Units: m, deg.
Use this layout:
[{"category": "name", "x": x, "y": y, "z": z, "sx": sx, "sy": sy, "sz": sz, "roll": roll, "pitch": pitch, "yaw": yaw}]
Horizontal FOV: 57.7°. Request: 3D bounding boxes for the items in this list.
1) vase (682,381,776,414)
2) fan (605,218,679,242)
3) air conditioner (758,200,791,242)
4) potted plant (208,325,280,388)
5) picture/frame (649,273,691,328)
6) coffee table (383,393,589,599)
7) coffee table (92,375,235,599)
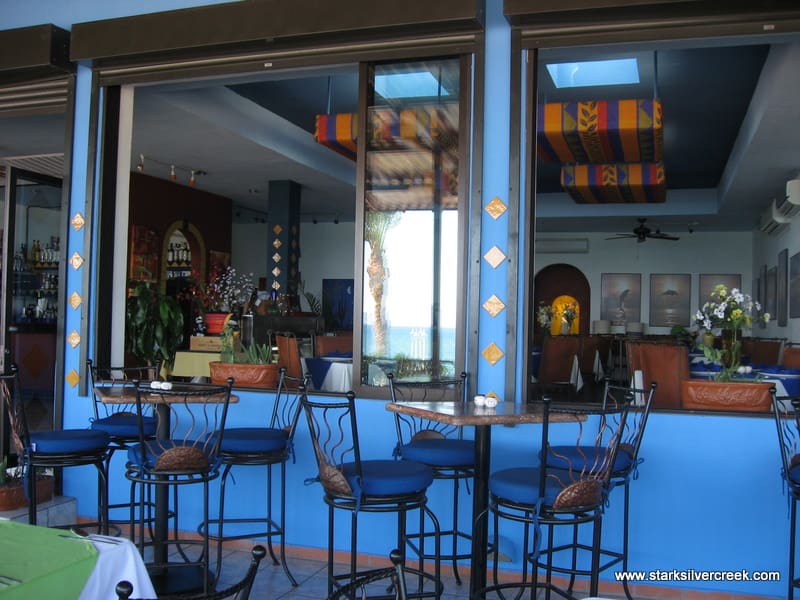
[{"category": "vase", "x": 2.173, "y": 0.643, "z": 4.779, "sx": 0.341, "sy": 0.168, "sz": 0.276, "roll": 1, "pitch": -6, "yaw": 17}, {"category": "fan", "x": 4.496, "y": -1.231, "z": 13.313, "sx": 0.806, "sy": 0.292, "sz": 0.874, "roll": -2, "pitch": -1, "yaw": 41}, {"category": "air conditioner", "x": 5.777, "y": -1.221, "z": 11.095, "sx": 0.179, "sy": 0.259, "sz": 0.662, "roll": 2, "pitch": -3, "yaw": 9}, {"category": "potted plant", "x": -1.252, "y": 0.530, "z": 5.750, "sx": 0.657, "sy": 0.653, "sz": 0.375, "roll": 0, "pitch": -7, "yaw": 4}, {"category": "picture/frame", "x": 5.737, "y": -0.013, "z": 15.220, "sx": 0.980, "sy": 1.485, "sz": 0.047, "roll": 2, "pitch": 4, "yaw": 28}, {"category": "coffee table", "x": 0.416, "y": 1.159, "z": 4.435, "sx": 1.082, "sy": 1.729, "sz": 1.144, "roll": 2, "pitch": -5, "yaw": -10}, {"category": "coffee table", "x": -1.549, "y": 1.162, "z": 4.648, "sx": 0.820, "sy": 1.305, "sz": 1.250, "roll": 2, "pitch": -3, "yaw": -24}]
